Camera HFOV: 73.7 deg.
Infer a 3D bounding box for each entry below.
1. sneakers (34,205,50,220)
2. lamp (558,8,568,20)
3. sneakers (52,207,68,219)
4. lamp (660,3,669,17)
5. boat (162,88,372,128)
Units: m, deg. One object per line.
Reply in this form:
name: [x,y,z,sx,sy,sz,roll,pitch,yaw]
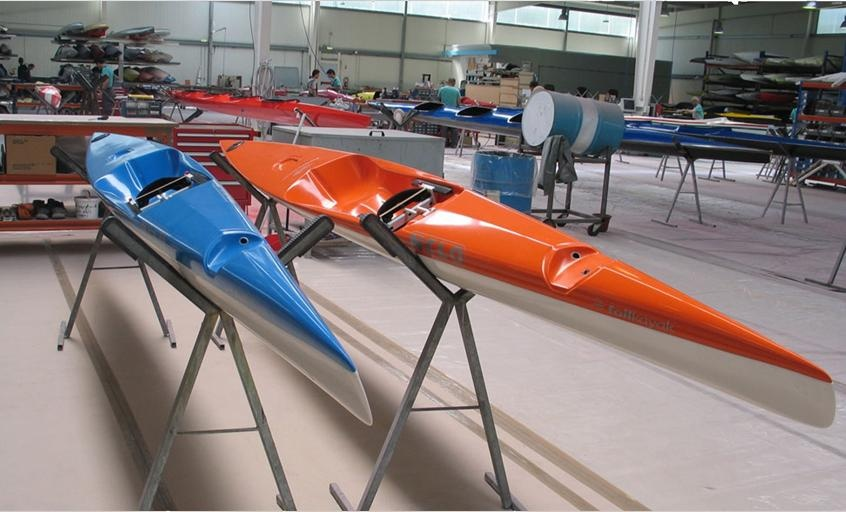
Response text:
sneakers: [-3.332,-0.375,4.901,0.074,0.072,0.212,-5,17,-37]
lamp: [4.943,-8.519,19.807,0.286,0.454,0.954,4,14,8]
sneakers: [-3.222,-0.383,4.973,0.133,0.087,0.101,-7,17,-32]
lamp: [9.853,-9.999,22.879,0.261,0.357,0.716,9,15,25]
boat: [-1.955,-1.900,7.151,1.124,0.437,3.729,-10,18,-40]
